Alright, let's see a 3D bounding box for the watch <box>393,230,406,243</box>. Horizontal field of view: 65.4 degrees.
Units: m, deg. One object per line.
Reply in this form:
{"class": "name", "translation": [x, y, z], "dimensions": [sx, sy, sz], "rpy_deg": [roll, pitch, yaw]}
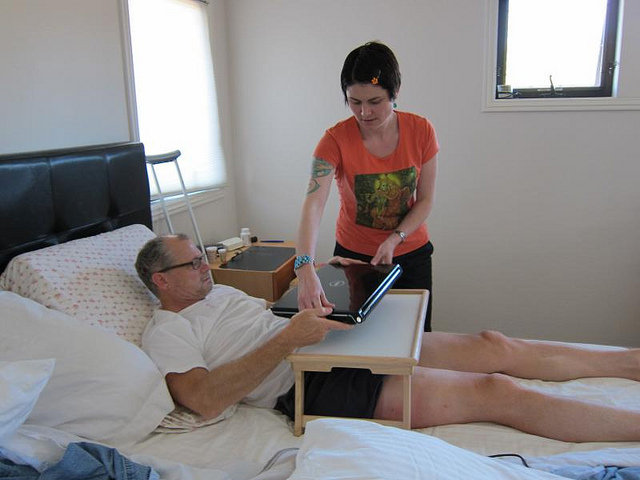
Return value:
{"class": "watch", "translation": [0.344, -0.012, 2.168], "dimensions": [0.014, 0.050, 0.051], "rpy_deg": [-24, 56, 6]}

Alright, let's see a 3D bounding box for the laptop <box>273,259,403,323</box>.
{"class": "laptop", "translation": [0.094, 0.184, 1.874], "dimensions": [0.233, 0.048, 0.345], "rpy_deg": [-1, 17, 21]}

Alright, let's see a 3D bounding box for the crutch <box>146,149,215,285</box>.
{"class": "crutch", "translation": [-0.734, -0.107, 2.616], "dimensions": [0.248, 0.700, 0.964], "rpy_deg": [-9, 17, -18]}
